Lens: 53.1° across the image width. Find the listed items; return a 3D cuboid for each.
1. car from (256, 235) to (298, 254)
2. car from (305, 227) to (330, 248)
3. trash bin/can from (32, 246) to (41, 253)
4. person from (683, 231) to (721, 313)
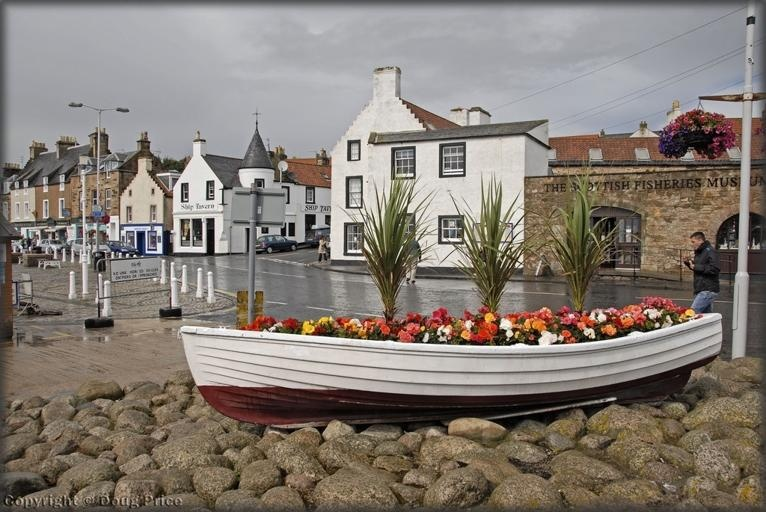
[{"bbox_3d":[-7.644,-0.820,53.997,1.058,0.743,2.167,6,10,43],"label":"car"},{"bbox_3d":[-5.128,-1.380,58.654,1.356,1.375,2.414,3,12,39],"label":"car"},{"bbox_3d":[-23.149,-0.391,50.892,0.425,0.462,0.483,1,6,-16],"label":"trash bin/can"},{"bbox_3d":[6.458,0.335,15.468,0.468,1.612,0.606,-3,4,-32],"label":"person"}]
